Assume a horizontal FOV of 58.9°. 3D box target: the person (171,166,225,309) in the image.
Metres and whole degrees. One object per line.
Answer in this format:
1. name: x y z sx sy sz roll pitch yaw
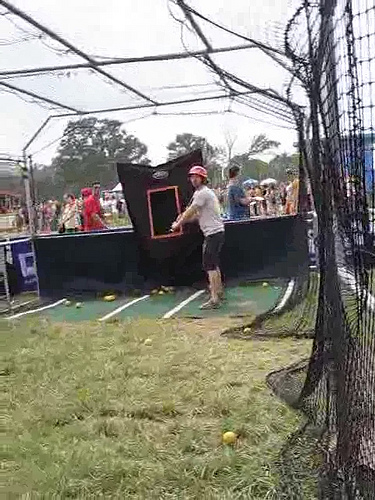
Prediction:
1. person: 0.195 -0.206 4.827 0.659 2.080 0.680 -7 4 -1

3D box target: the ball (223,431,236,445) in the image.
1. ball: 0.246 1.096 1.943 0.077 0.041 0.096 -7 4 1

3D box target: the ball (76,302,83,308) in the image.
1. ball: -1.725 0.874 5.285 0.057 0.085 0.091 3 7 -11

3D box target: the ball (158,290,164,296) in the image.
1. ball: -0.430 0.697 5.374 0.092 0.066 0.068 -7 4 -5

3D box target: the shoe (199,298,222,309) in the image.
1. shoe: 0.328 0.766 4.740 0.237 0.090 0.159 -2 10 14

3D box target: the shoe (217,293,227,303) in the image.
1. shoe: 0.512 0.704 4.880 0.142 0.126 0.057 11 -26 -44

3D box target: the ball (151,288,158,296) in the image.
1. ball: -0.538 0.685 5.404 0.110 0.092 0.083 -7 4 2

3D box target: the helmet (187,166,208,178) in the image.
1. helmet: 0.158 -1.089 4.630 0.277 0.123 0.196 11 6 -17

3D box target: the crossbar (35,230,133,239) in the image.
1. crossbar: -1.733 -0.256 5.573 1.695 0.111 0.063 -2 39 2

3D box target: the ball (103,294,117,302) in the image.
1. ball: -1.292 0.797 5.452 0.252 0.091 0.204 -6 4 3

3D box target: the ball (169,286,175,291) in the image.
1. ball: -0.247 0.628 5.391 0.088 0.053 0.034 -5 4 23

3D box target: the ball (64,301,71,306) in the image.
1. ball: -1.966 0.883 5.434 0.102 0.060 0.159 -8 4 -20
